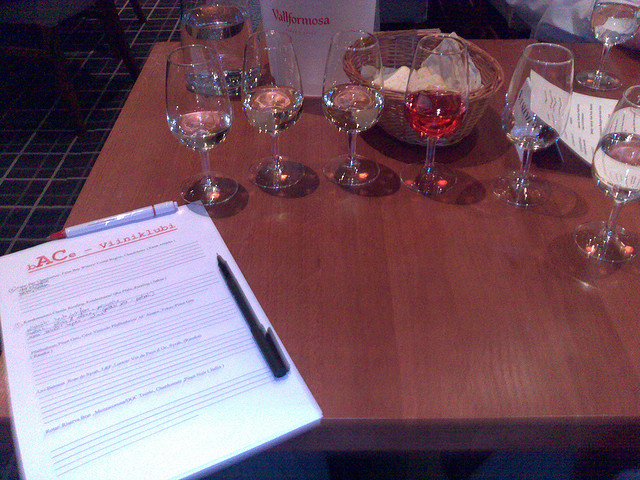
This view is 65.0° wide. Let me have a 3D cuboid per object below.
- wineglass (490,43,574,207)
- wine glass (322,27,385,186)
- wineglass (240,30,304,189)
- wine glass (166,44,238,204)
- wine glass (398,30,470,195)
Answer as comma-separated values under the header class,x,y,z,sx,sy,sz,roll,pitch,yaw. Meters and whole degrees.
class,x,y,z,sx,sy,sz,roll,pitch,yaw
wineglass,0.381,-0.208,0.899,0.102,0.272,0.114,-8,29,-12
wine glass,0.063,-0.254,0.972,0.114,0.263,0.110,8,40,16
wineglass,-0.086,-0.243,0.955,0.106,0.255,0.109,5,28,11
wine glass,-0.219,-0.207,0.928,0.116,0.270,0.118,-15,37,-21
wine glass,0.212,-0.220,0.925,0.134,0.290,0.147,24,50,27
